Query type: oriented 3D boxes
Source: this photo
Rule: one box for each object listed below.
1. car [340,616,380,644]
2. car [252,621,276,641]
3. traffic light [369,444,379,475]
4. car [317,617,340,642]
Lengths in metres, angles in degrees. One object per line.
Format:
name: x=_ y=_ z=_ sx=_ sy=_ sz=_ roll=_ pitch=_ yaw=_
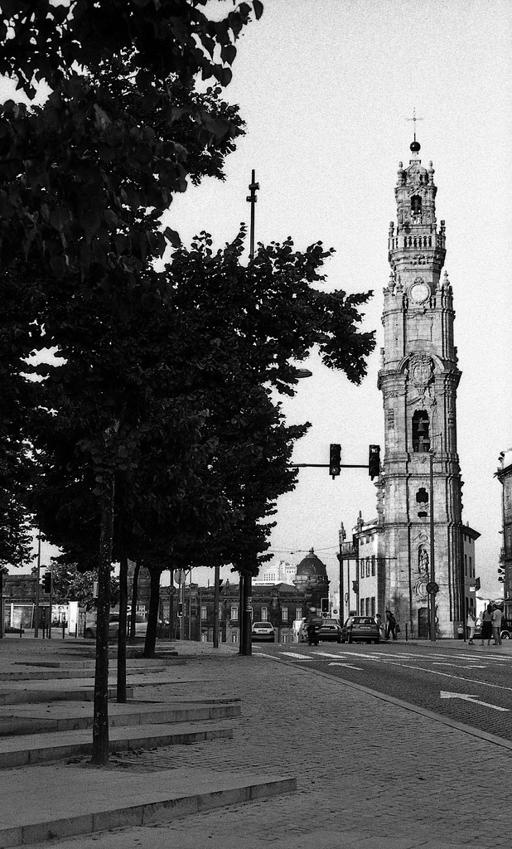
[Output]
car: x=4.396 y=8.502 z=54.159 sx=1.187 sy=1.028 sz=2.140 roll=1 pitch=-12 yaw=-4
car: x=0.421 y=12.268 z=76.588 sx=1.054 sy=1.009 sz=2.664 roll=0 pitch=1 yaw=-1
traffic light: x=3.336 y=0.998 z=36.594 sx=0.277 sy=0.898 sz=0.818 roll=0 pitch=-11 yaw=3
car: x=3.453 y=9.472 z=59.607 sx=0.821 sy=0.761 sz=2.082 roll=0 pitch=-5 yaw=6
